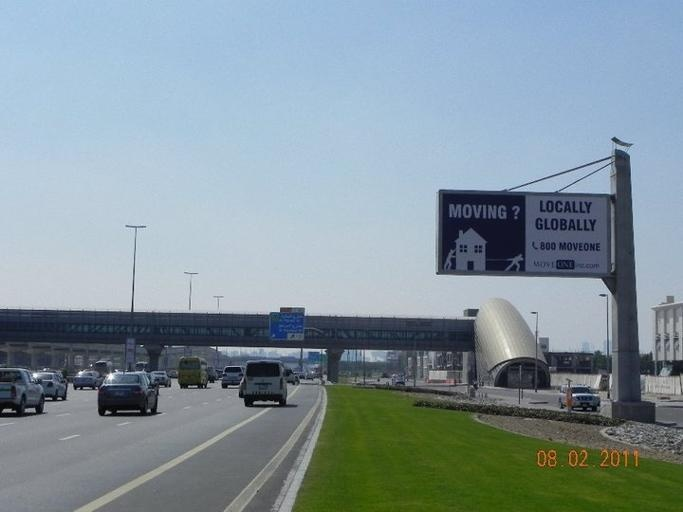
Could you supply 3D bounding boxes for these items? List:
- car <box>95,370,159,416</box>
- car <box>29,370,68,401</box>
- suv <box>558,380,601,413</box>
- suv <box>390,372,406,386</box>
[{"bbox_3d":[-9.616,6.280,43.645,2.006,2.045,3.269,-4,-11,13],"label":"car"},{"bbox_3d":[-17.173,7.862,57.355,1.229,1.100,2.986,-1,-4,1],"label":"car"},{"bbox_3d":[15.695,9.454,63.654,1.518,1.593,3.316,2,-13,-6],"label":"suv"},{"bbox_3d":[7.634,16.445,125.375,1.389,2.376,5.231,0,-6,-2],"label":"suv"}]
